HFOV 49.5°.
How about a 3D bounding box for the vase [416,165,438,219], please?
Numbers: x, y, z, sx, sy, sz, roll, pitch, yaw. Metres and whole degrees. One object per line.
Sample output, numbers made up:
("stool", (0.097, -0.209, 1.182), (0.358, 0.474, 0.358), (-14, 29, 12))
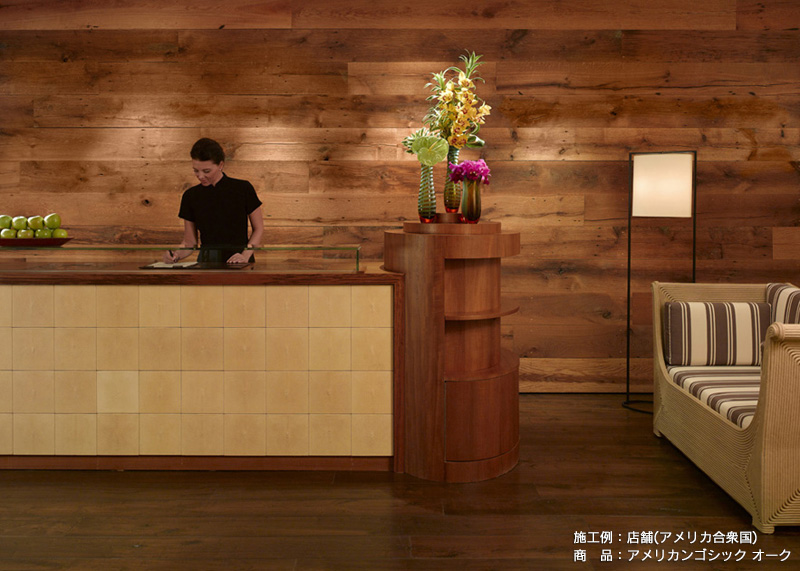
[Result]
("vase", (0.189, -0.638, 6.096), (0.119, 0.393, 0.170), (-2, 10, 7))

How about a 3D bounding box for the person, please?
("person", (-1.408, -0.669, 6.648), (0.714, 0.913, 1.794), (-4, 7, -9))

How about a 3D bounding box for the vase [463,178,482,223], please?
("vase", (0.484, -0.570, 5.991), (0.122, 0.286, 0.081), (-3, 10, 0))

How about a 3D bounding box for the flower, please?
("flower", (0.393, -1.413, 6.749), (0.600, 0.991, 1.740), (-2, 7, 7))

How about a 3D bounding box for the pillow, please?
("pillow", (2.306, 0.377, 6.605), (1.137, 0.498, 0.333), (2, -2, -28))
